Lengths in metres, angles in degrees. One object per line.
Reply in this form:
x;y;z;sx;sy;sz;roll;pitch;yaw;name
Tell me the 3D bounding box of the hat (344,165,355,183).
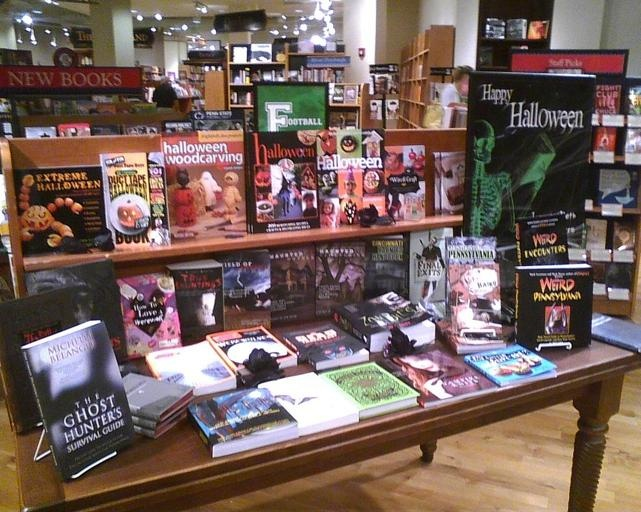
0.139;-0.381;2.320;0.054;0.098;0.052;-2;2;-25;hat
